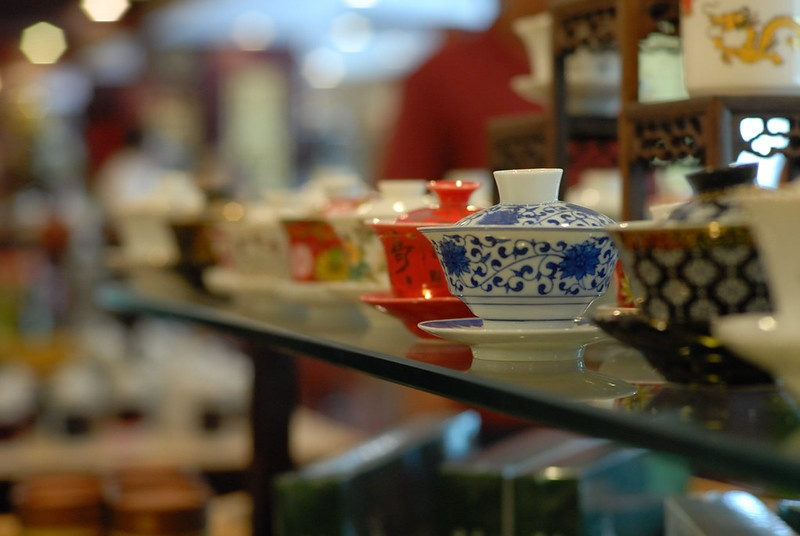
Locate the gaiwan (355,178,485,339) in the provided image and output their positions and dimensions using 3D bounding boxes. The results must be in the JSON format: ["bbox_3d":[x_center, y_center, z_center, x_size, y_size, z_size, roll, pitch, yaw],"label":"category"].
[{"bbox_3d":[0.012,-0.012,0.861,0.171,0.133,0.160,1,-4,-6],"label":"gaiwan"}]

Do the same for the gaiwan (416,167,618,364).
[{"bbox_3d":[0.111,0.004,0.685,0.180,0.138,0.173,-1,-4,8],"label":"gaiwan"}]

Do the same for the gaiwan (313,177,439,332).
[{"bbox_3d":[-0.026,-0.012,0.963,0.188,0.164,0.180,0,-2,4],"label":"gaiwan"}]

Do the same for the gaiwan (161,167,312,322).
[{"bbox_3d":[-0.219,-0.016,1.071,0.174,0.101,0.214,7,-9,-42],"label":"gaiwan"}]
